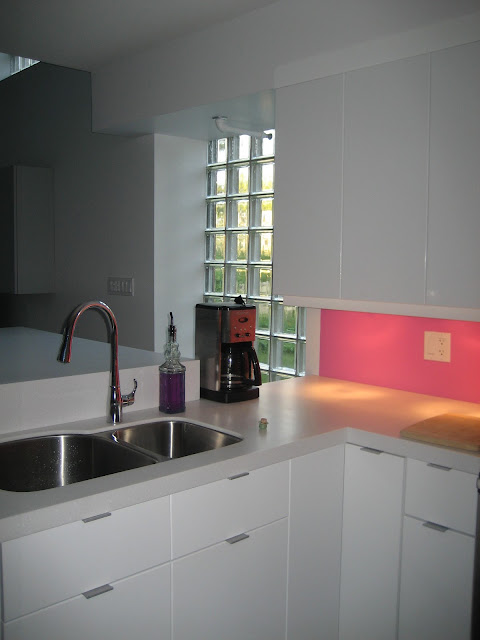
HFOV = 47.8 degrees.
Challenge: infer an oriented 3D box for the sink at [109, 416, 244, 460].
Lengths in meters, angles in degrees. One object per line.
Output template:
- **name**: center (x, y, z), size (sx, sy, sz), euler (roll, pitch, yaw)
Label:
- **sink**: center (-0.174, 0.316, 1.451), size (0.322, 0.087, 0.256), euler (-2, 9, -44)

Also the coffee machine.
- **coffee machine**: center (-0.038, 0.103, 1.841), size (0.167, 0.395, 0.159), euler (-3, 10, -39)

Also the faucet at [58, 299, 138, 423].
- **faucet**: center (-0.394, 0.111, 1.532), size (0.223, 0.340, 0.598), euler (-1, 5, -19)

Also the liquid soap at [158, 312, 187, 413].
- **liquid soap**: center (-0.212, 0.124, 1.679), size (0.081, 0.304, 0.197), euler (-1, 4, -9)

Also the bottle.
- **bottle**: center (-0.195, 0.122, 1.651), size (0.076, 0.315, 0.076), euler (8, 10, -1)
